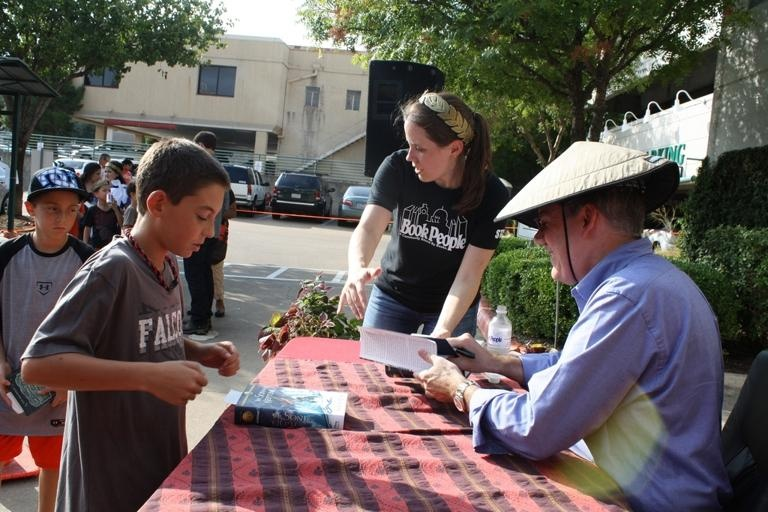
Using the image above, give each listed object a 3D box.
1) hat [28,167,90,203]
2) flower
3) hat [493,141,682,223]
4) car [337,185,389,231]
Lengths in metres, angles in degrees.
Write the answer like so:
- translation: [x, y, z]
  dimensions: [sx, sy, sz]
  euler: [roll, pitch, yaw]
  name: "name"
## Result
- translation: [-2.004, -0.431, 3.657]
  dimensions: [0.296, 0.170, 0.236]
  euler: [-16, -11, 29]
  name: "hat"
- translation: [-0.650, 0.505, 5.301]
  dimensions: [0.785, 0.832, 0.357]
  euler: [-12, -29, 40]
  name: "flower"
- translation: [0.936, -0.354, 2.707]
  dimensions: [0.477, 0.203, 0.488]
  euler: [-18, -5, 33]
  name: "hat"
- translation: [-1.217, -1.941, 23.434]
  dimensions: [1.382, 1.303, 3.414]
  euler: [0, 8, 1]
  name: "car"
